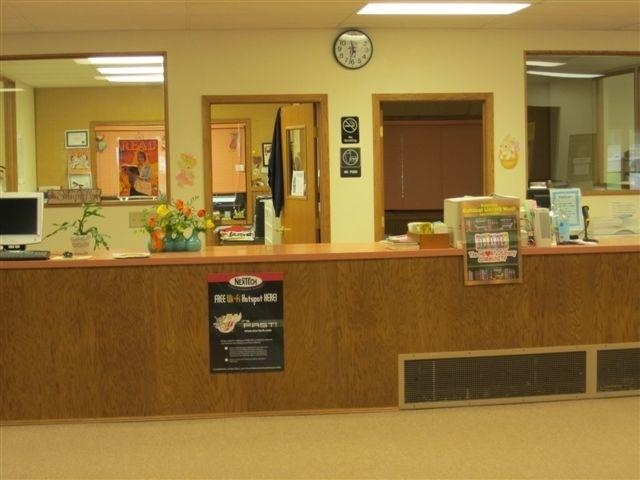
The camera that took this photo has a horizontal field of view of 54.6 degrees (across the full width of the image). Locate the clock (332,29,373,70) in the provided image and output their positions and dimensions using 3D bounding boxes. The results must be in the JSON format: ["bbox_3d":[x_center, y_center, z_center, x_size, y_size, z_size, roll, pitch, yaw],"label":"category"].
[{"bbox_3d":[0.349,-2.165,6.925,0.414,0.446,0.057,-1,7,-8],"label":"clock"}]

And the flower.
[{"bbox_3d":[-1.295,-0.110,5.451,0.675,0.525,0.697,0,-1,-29],"label":"flower"}]

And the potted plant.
[{"bbox_3d":[-2.549,-0.202,6.535,0.690,0.644,0.487,0,-3,-7],"label":"potted plant"}]

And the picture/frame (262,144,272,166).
[{"bbox_3d":[-0.949,-1.552,11.159,0.136,0.434,0.296,-2,4,-13],"label":"picture/frame"}]

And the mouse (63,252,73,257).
[{"bbox_3d":[-2.027,0.113,4.967,0.044,0.019,0.053,0,11,-13],"label":"mouse"}]

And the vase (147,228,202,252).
[{"bbox_3d":[-1.213,-0.002,5.144,0.423,0.195,0.131,-2,4,-2],"label":"vase"}]
